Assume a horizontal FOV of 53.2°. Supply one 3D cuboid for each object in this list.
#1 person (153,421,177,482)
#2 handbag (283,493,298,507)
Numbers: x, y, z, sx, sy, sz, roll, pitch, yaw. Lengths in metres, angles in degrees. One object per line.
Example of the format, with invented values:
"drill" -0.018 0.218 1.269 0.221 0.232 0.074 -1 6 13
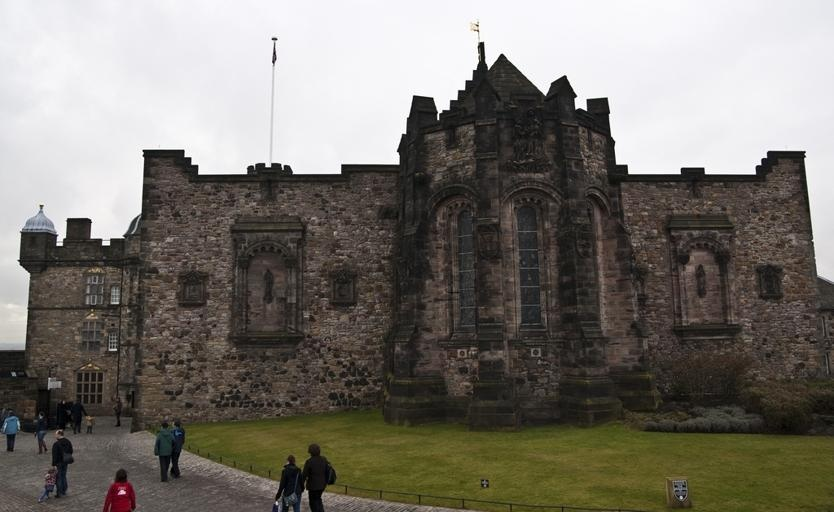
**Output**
"person" -10.554 8.209 34.847 0.754 2.376 1.179 2 -13 -15
"handbag" -4.712 9.047 30.907 0.676 0.483 0.322 -3 0 -10
